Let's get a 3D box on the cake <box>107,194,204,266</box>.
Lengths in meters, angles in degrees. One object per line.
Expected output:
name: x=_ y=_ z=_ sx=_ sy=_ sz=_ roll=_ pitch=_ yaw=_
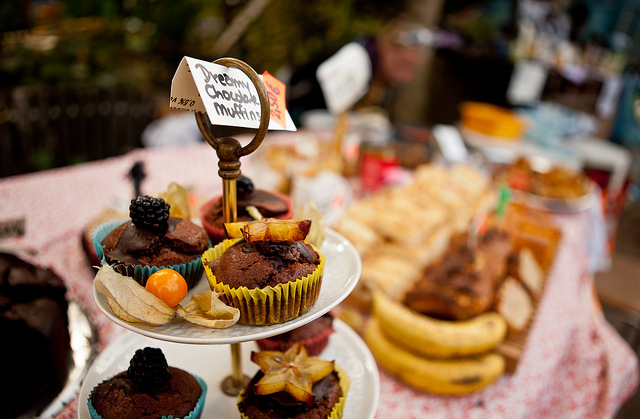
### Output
cake: x=-0.902 y=0.160 z=3.128 sx=0.580 sy=0.425 sz=0.575 roll=-2 pitch=14 yaw=-25

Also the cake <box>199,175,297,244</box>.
cake: x=-0.413 y=-0.035 z=3.310 sx=0.419 sy=0.387 sz=0.409 roll=5 pitch=17 yaw=20

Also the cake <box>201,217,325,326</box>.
cake: x=-0.309 y=0.284 z=3.051 sx=0.599 sy=0.524 sz=0.712 roll=-4 pitch=18 yaw=-7
